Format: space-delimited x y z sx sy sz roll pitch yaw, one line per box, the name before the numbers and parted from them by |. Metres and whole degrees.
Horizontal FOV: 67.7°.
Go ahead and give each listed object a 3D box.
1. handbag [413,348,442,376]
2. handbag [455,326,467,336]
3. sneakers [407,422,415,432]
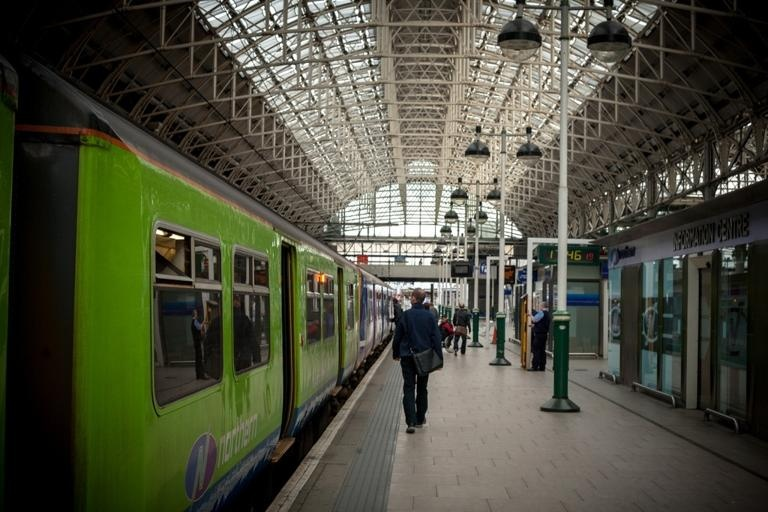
handbag | 0.738 1.807 9.951 0.341 0.350 0.144 -18 -3 -13
handbag | 3.133 3.032 23.291 0.502 0.348 0.523 -1 19 7
sneakers | 0.469 2.947 9.868 0.154 0.106 0.341 0 -2 7
